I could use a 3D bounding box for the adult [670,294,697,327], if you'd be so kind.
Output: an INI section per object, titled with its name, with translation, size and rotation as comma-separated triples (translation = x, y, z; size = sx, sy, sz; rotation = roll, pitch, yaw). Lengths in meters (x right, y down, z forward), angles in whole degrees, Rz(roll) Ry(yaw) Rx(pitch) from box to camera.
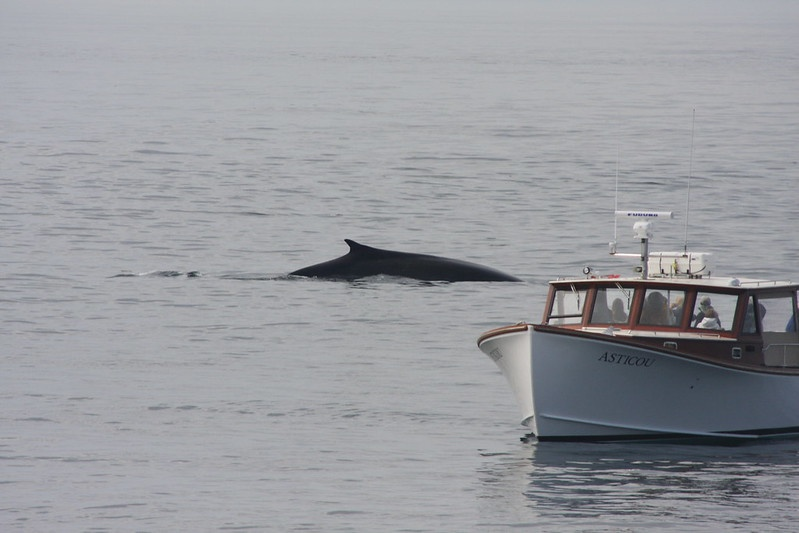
[adult]
translation = 15.354, 2.409, 117.387
size = 1.708, 1.418, 0.760
rotation = 5, -1, 5

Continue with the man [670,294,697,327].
[man]
translation = 15.350, 2.448, 117.385
size = 1.708, 1.418, 0.760
rotation = 5, -1, 5
